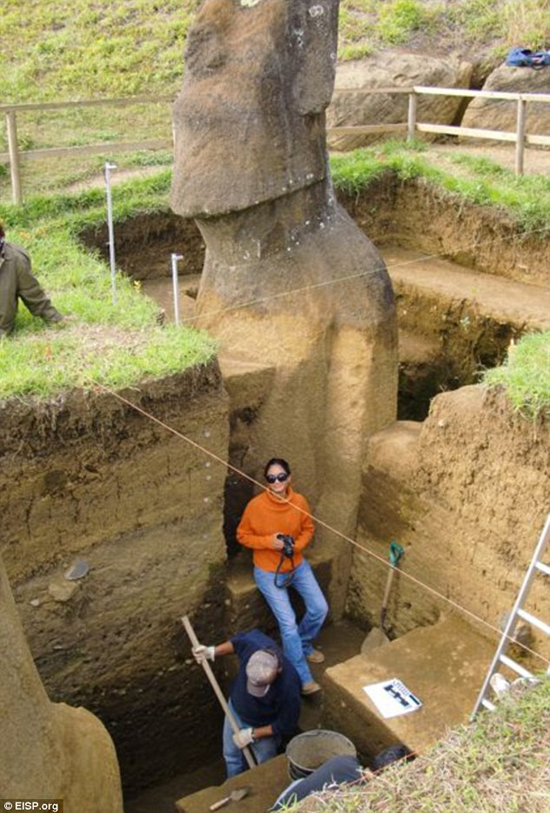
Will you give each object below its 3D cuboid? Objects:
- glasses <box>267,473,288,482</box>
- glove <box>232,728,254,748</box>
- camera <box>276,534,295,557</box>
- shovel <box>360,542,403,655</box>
[{"bbox_3d":[0.012,0.357,4.107,0.103,0.063,0.043,-2,18,-3],"label":"glasses"},{"bbox_3d":[-0.135,1.513,3.782,0.080,0.035,0.104,-6,14,-23],"label":"glove"},{"bbox_3d":[0.056,0.696,4.167,0.051,0.116,0.082,-22,39,30],"label":"camera"},{"bbox_3d":[0.616,1.055,4.561,0.141,0.644,0.250,14,-5,-5],"label":"shovel"}]
